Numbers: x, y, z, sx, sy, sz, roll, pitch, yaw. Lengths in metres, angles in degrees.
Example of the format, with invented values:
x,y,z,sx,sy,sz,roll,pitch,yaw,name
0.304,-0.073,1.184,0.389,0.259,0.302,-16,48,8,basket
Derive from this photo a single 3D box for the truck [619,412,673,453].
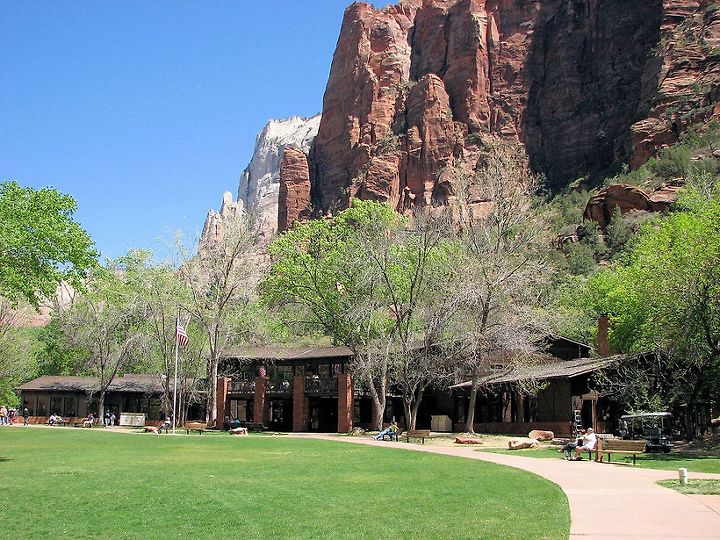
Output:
x,y,z,sx,sy,sz,roll,pitch,yaw,name
16.412,9.560,47.263,2.805,2.227,2.042,-11,-12,43,truck

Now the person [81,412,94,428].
x,y,z,sx,sy,sz,roll,pitch,yaw,name
-25.613,14.129,75.313,0.604,0.934,1.610,5,-47,-26,person

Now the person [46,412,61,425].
x,y,z,sx,sy,sz,roll,pitch,yaw,name
-29.286,14.324,76.780,1.705,1.148,1.161,2,-19,3,person
